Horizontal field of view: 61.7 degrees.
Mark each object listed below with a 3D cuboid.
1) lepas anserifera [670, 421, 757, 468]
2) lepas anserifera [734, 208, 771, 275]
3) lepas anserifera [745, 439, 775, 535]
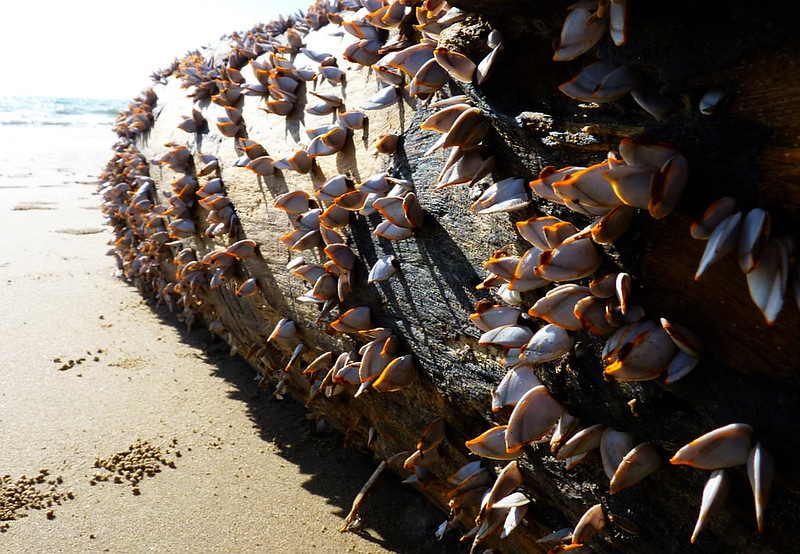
[{"bbox_3d":[0.879,0.489,1.895,0.286,0.109,0.051,-11,-21,-24],"label":"lepas anserifera"},{"bbox_3d":[0.939,-0.096,1.783,0.069,0.171,0.113,6,18,31],"label":"lepas anserifera"},{"bbox_3d":[0.997,0.574,1.827,0.091,0.237,0.079,3,-20,37],"label":"lepas anserifera"}]
